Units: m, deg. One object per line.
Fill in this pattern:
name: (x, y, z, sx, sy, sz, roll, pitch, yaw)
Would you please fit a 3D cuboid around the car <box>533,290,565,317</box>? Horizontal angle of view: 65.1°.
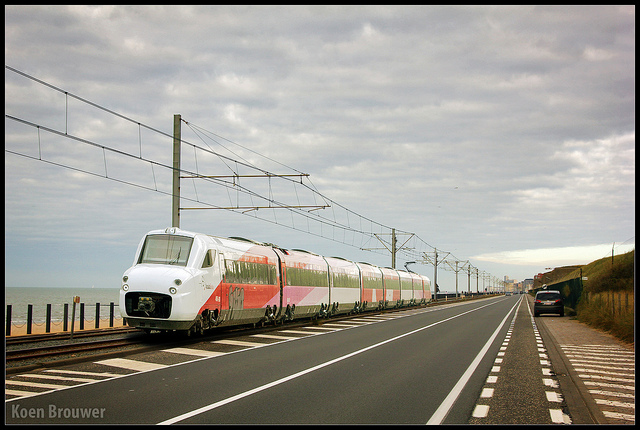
car: (17.482, 6.764, 38.492, 2.419, 2.005, 1.047, 4, -10, -21)
